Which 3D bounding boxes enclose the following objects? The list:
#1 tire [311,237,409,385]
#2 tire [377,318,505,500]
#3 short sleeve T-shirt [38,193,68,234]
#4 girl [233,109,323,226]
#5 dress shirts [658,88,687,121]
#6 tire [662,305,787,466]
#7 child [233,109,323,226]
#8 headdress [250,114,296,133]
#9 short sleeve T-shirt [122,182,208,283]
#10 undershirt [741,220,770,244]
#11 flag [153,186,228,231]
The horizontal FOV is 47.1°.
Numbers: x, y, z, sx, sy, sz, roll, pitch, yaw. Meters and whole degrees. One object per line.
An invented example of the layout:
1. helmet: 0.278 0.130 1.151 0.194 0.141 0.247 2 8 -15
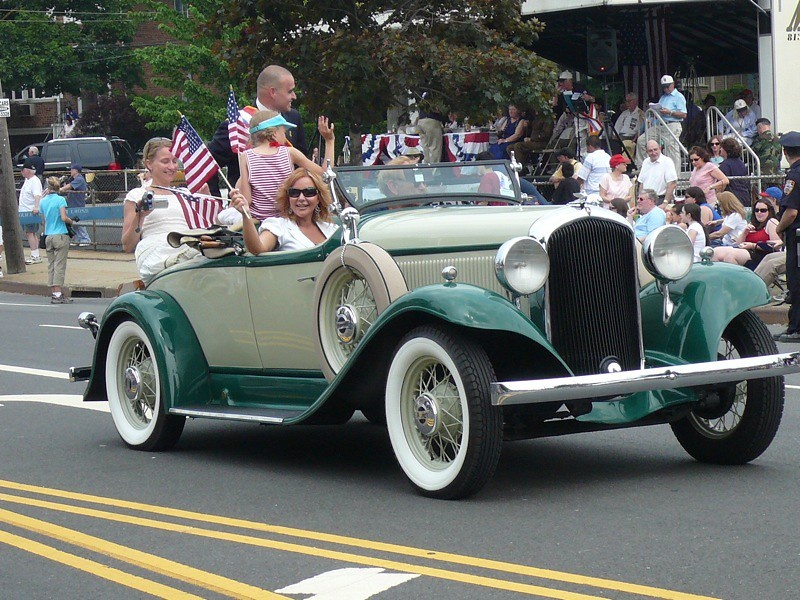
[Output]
1. tire: -0.246 0.074 6.185 0.217 1.141 0.850 -2 3 -31
2. tire: 0.269 0.701 5.658 0.274 1.069 0.861 -6 8 -41
3. short sleeve T-shirt: -7.797 -1.880 20.522 0.649 0.948 0.518 -1 6 -1
4. girl: -1.037 -1.062 7.525 0.729 1.187 0.668 6 24 8
5. dress shirts: 6.162 -4.363 20.628 0.586 0.732 0.544 1 7 16
6. tire: 2.197 0.594 6.230 0.242 1.014 0.933 -3 -15 -29
7. child: -1.037 -1.062 7.525 0.729 1.187 0.668 6 24 8
8. headdress: -1.073 -1.433 7.522 0.267 0.099 0.188 -12 5 -7
9. short sleeve T-shirt: -2.054 -0.545 8.009 0.358 0.661 0.865 25 -6 -40
10. undershirt: 5.749 -1.060 14.722 0.233 0.413 0.363 1 5 -28
11. flag: -1.877 -0.786 8.103 0.337 0.434 0.047 -12 21 8
